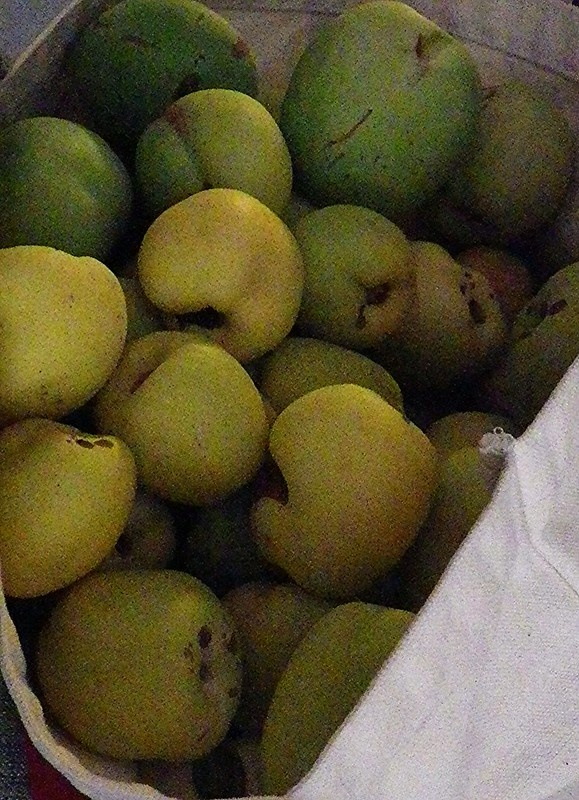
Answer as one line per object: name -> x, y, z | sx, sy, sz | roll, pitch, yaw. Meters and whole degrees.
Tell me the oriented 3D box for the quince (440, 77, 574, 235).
quince -> 0.209, -0.222, 1.036 | 0.108, 0.080, 0.147 | 28, 98, 3
